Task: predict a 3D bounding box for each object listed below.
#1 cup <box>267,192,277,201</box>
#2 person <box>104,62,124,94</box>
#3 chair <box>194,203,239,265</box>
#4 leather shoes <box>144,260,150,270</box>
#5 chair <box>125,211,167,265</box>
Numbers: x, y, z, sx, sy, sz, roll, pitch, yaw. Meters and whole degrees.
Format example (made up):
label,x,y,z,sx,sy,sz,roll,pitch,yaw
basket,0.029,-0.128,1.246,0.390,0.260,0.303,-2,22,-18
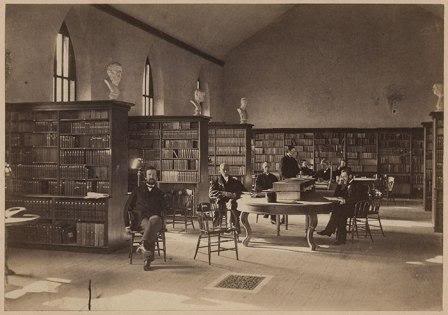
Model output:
label,x,y,z,sx,sy,sz,roll,pitch,yaw
cup,1.011,0.843,9.685,0.201,0.208,0.180,-2,-6,11
person,-2.556,-1.835,10.644,0.397,0.822,0.257,2,-22,-24
chair,-0.107,1.549,9.832,0.833,1.380,0.858,0,-7,-7
leather shoes,-1.503,2.076,8.847,0.132,0.173,0.155,-3,13,-11
chair,-1.591,1.483,9.396,0.939,1.177,0.903,3,2,-37
